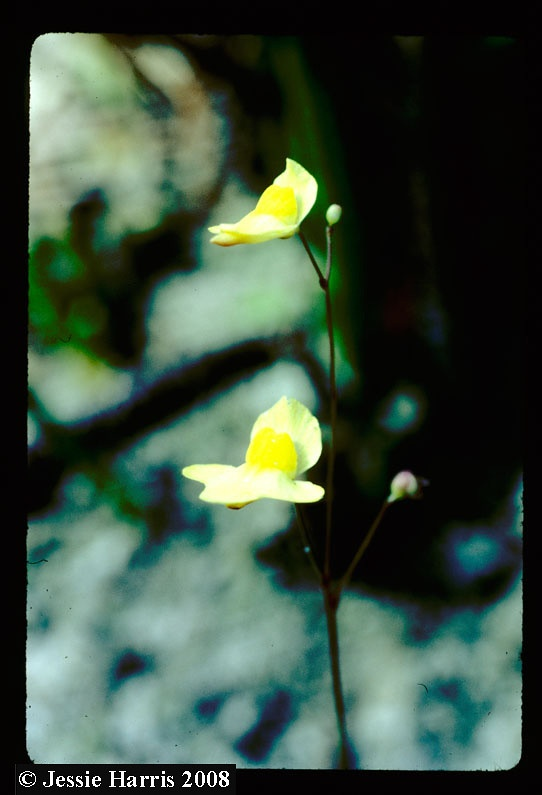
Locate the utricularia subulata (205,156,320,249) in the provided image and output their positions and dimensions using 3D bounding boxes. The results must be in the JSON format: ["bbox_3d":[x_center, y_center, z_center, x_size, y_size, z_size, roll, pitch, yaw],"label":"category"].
[{"bbox_3d":[-0.001,-0.188,0.919,0.079,0.059,0.171,3,33,31],"label":"utricularia subulata"}]

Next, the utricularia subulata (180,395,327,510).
[{"bbox_3d":[-0.017,0.058,0.926,0.146,0.060,0.127,-4,61,-7],"label":"utricularia subulata"}]
